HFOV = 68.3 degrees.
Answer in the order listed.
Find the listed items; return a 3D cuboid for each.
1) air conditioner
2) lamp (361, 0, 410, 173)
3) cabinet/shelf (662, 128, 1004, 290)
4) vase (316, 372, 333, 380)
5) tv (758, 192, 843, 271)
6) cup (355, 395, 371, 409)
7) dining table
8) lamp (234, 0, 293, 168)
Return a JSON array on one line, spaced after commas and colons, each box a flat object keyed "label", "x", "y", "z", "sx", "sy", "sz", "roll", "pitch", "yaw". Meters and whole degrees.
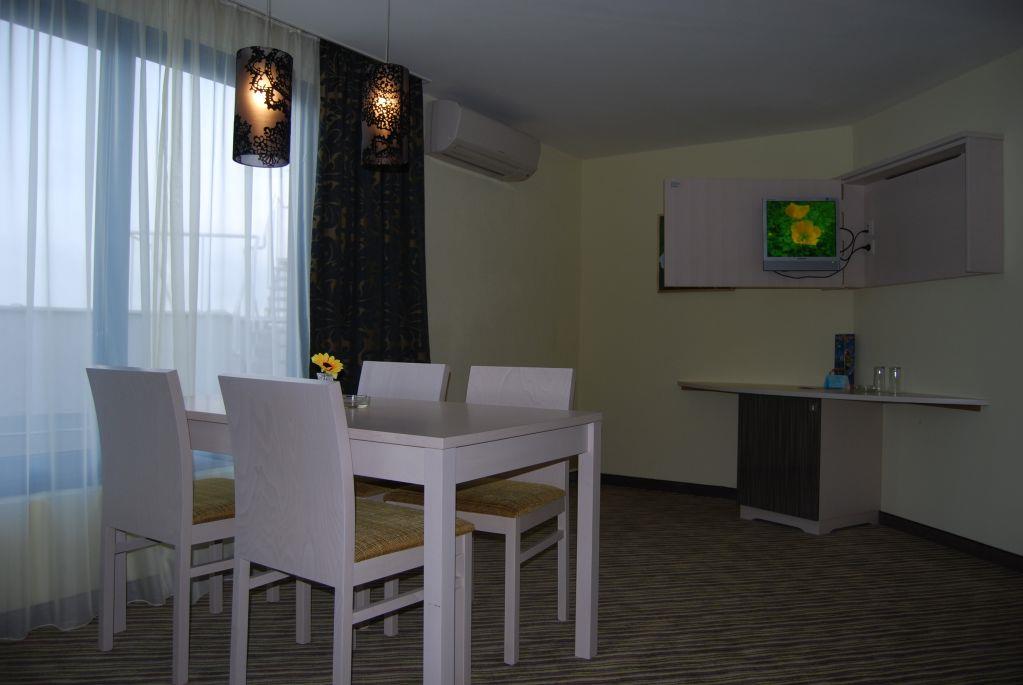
[{"label": "air conditioner", "x": -0.219, "y": -1.553, "z": 5.967, "sx": 0.388, "sy": 0.422, "sz": 1.220, "roll": 17, "pitch": 10, "yaw": 31}, {"label": "lamp", "x": -0.627, "y": -1.118, "z": 3.683, "sx": 0.223, "sy": 0.476, "sz": 0.148, "roll": -1, "pitch": 10, "yaw": -11}, {"label": "cabinet/shelf", "x": 2.281, "y": -0.909, "z": 5.416, "sx": 2.126, "sy": 1.060, "sz": 0.637, "roll": 5, "pitch": 11, "yaw": 24}, {"label": "vase", "x": -0.977, "y": 0.172, "z": 3.931, "sx": 0.068, "sy": 0.050, "sz": 0.059, "roll": -1, "pitch": -1, "yaw": 13}, {"label": "tv", "x": 2.140, "y": -0.812, "z": 5.523, "sx": 0.550, "sy": 0.571, "sz": 0.057, "roll": 0, "pitch": -1, "yaw": 5}, {"label": "cup", "x": -0.758, "y": 0.300, "z": 3.833, "sx": 0.047, "sy": 0.062, "sz": 0.086, "roll": -3, "pitch": -2, "yaw": 30}, {"label": "dining table", "x": -0.428, "y": 0.540, "z": 3.768, "sx": 2.002, "sy": 1.500, "sz": 1.122, "roll": 4, "pitch": 5, "yaw": 44}, {"label": "lamp", "x": -1.204, "y": -1.127, "z": 3.618, "sx": 0.283, "sy": 0.546, "sz": 0.174, "roll": -3, "pitch": 11, "yaw": -20}]
